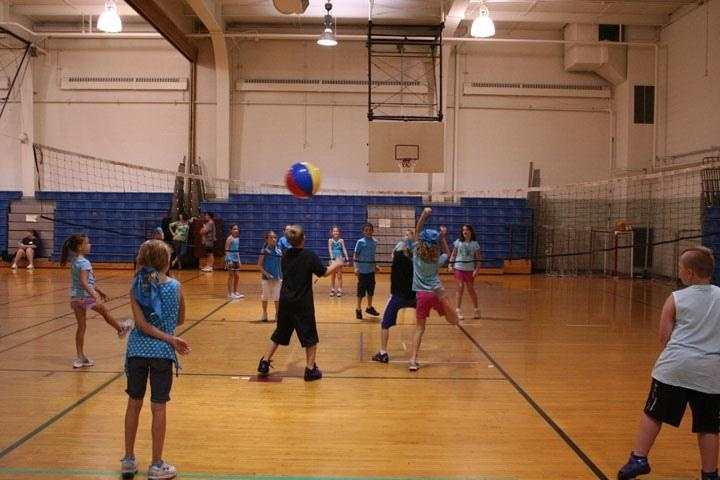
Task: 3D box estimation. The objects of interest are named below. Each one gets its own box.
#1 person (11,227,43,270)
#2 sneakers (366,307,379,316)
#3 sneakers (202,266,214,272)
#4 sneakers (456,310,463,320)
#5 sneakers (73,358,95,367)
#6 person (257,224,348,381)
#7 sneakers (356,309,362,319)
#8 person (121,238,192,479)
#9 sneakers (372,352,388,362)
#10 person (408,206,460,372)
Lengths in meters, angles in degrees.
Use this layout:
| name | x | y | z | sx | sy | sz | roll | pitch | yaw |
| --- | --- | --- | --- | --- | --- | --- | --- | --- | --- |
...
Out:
| name | x | y | z | sx | sy | sz | roll | pitch | yaw |
| --- | --- | --- | --- | --- | --- | --- | --- | --- | --- |
| person | -10.462 | 0.274 | 22.608 | 0.792 | 1.234 | 0.992 | 0 | 1 | -4 |
| sneakers | 0.295 | 1.638 | 16.633 | 0.154 | 0.135 | 0.286 | 15 | 2 | 42 |
| sneakers | -4.720 | 0.890 | 22.263 | 0.408 | 0.184 | 0.153 | 2 | 4 | 22 |
| sneakers | 2.284 | 1.682 | 16.445 | 0.148 | 0.181 | 0.417 | 0 | -6 | -1 |
| sneakers | -5.252 | 2.317 | 13.764 | 0.359 | 0.157 | 0.156 | -2 | 3 | -25 |
| person | -1.117 | 1.159 | 13.401 | 1.415 | 2.884 | 0.575 | 1 | 1 | 21 |
| sneakers | -0.015 | 1.684 | 16.479 | 0.130 | 0.210 | 0.208 | 0 | 1 | 0 |
| person | -3.324 | 1.914 | 11.626 | 0.962 | 3.816 | 0.445 | 0 | 1 | -15 |
| sneakers | 0.410 | 2.276 | 14.110 | 0.299 | 0.183 | 0.152 | 4 | 2 | 20 |
| person | 1.382 | 0.919 | 14.287 | 0.788 | 3.136 | 1.564 | 1 | 1 | 4 |
